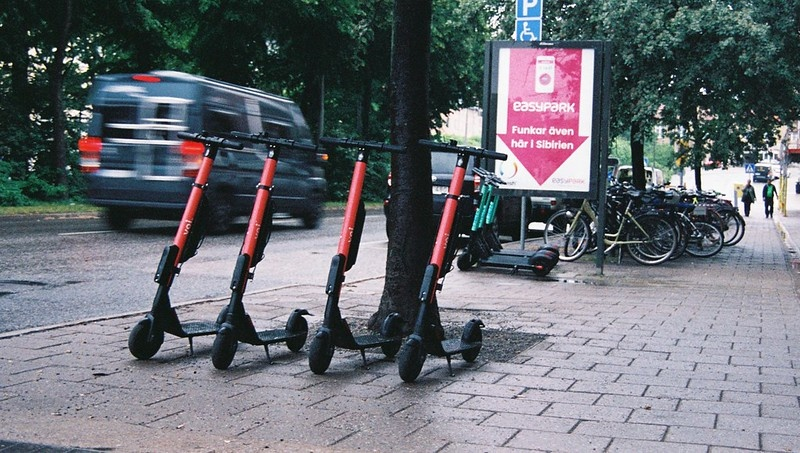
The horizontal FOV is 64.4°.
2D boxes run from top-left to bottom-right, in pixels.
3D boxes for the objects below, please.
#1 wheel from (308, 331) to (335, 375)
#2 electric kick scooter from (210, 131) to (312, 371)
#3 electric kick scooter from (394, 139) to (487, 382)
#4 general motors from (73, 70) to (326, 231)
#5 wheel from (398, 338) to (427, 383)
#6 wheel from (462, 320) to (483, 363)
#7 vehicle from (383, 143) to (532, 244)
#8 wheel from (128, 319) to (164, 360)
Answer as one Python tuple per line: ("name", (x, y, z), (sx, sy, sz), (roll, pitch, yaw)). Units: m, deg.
("wheel", (-0.793, 1.285, 6.514), (0.251, 0.451, 0.206), (-1, 5, -13))
("electric kick scooter", (-1.512, 0.208, 6.931), (1.047, 2.465, 0.856), (-1, 6, -16))
("electric kick scooter", (0.465, 0.333, 6.550), (1.094, 2.424, 0.402), (-4, 7, -38))
("general motors", (-4.893, -2.090, 19.144), (4.679, 3.774, 8.180), (2, 5, 30))
("wheel", (0.133, 1.328, 6.398), (0.266, 0.458, 0.201), (0, 5, -5))
("wheel", (0.791, 1.225, 6.875), (0.178, 0.509, 0.273), (4, -1, 30))
("vehicle", (1.844, -0.812, 16.235), (2.294, 1.745, 3.756), (2, 7, 27))
("wheel", (-2.676, 1.184, 6.738), (0.330, 0.455, 0.162), (-2, 6, -23))
